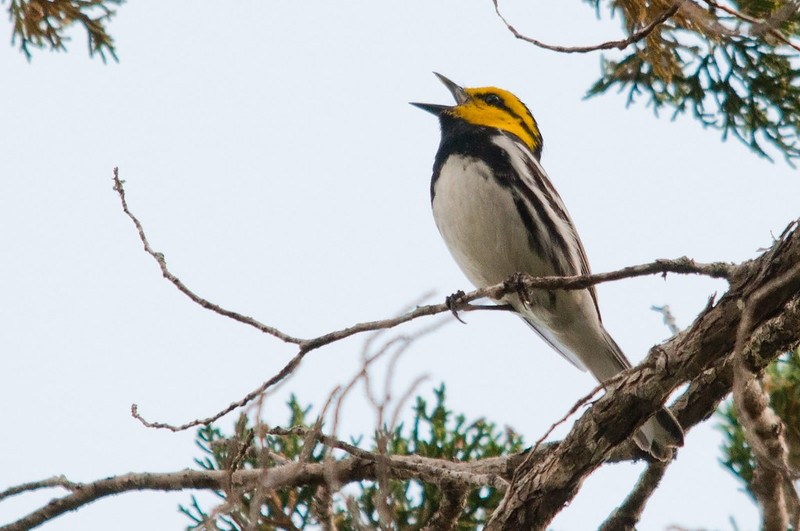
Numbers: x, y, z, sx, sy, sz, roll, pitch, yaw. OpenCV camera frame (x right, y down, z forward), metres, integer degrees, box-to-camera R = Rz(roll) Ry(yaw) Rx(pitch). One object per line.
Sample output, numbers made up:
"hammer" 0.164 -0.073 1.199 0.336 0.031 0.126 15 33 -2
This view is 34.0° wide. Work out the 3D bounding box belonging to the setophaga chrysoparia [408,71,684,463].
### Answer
"setophaga chrysoparia" 0.936 0.167 8.399 2.632 1.405 0.701 43 -33 3
